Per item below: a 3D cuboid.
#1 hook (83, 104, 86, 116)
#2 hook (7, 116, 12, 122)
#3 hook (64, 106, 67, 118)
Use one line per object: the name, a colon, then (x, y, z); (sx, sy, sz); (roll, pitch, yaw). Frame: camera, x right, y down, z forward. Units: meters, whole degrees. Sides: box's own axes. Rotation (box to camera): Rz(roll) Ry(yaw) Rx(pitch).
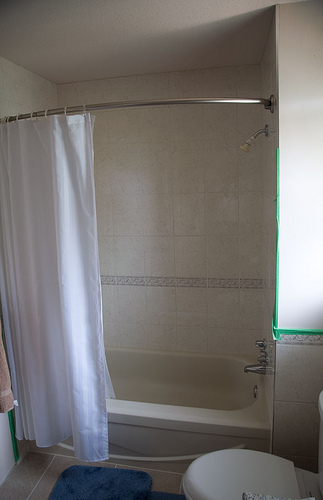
hook: (-0.325, -0.583, 1.678); (0.010, 0.039, 0.018); (-3, 5, -17)
hook: (-0.702, -0.605, 1.842); (0.021, 0.026, 0.014); (3, 7, 44)
hook: (-0.414, -0.591, 1.711); (0.010, 0.046, 0.040); (-3, 5, -14)
